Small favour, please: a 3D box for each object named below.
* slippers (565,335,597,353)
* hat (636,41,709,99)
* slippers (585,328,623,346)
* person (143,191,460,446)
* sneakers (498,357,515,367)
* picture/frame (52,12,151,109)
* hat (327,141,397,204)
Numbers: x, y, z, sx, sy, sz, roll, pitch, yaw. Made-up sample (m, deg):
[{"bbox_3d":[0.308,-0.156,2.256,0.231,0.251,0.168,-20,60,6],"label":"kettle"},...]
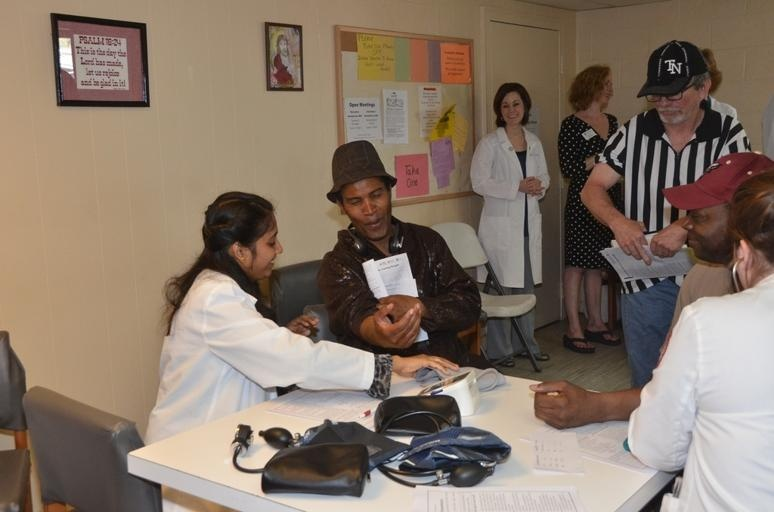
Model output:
[{"bbox_3d":[1.719,0.773,5.036,0.118,0.078,0.210,-12,14,-42],"label":"slippers"},{"bbox_3d":[1.331,-0.900,2.682,0.421,0.229,0.277,-26,24,-32],"label":"hat"},{"bbox_3d":[1.991,0.732,5.192,0.257,0.099,0.148,1,4,16],"label":"slippers"},{"bbox_3d":[-0.485,0.199,2.579,1.059,1.477,0.982,-11,22,-20],"label":"person"},{"bbox_3d":[1.025,0.881,4.755,0.092,0.051,0.151,-1,-1,-17],"label":"sneakers"},{"bbox_3d":[-1.490,-1.005,2.886,0.507,0.457,0.023,-8,12,-41],"label":"picture/frame"},{"bbox_3d":[-0.105,-0.427,2.808,0.264,0.171,0.305,-32,-10,39],"label":"hat"}]
